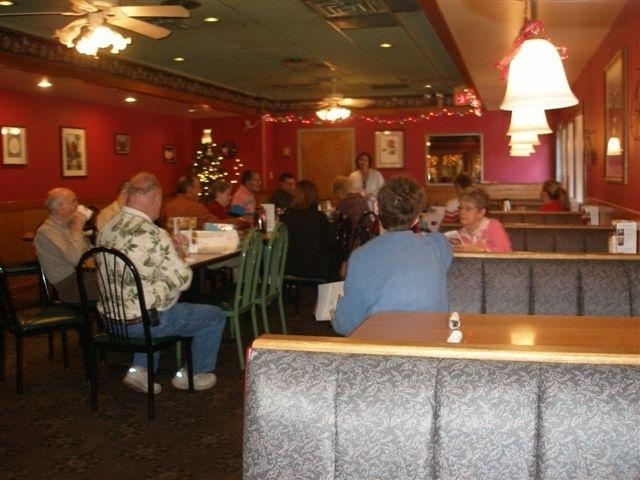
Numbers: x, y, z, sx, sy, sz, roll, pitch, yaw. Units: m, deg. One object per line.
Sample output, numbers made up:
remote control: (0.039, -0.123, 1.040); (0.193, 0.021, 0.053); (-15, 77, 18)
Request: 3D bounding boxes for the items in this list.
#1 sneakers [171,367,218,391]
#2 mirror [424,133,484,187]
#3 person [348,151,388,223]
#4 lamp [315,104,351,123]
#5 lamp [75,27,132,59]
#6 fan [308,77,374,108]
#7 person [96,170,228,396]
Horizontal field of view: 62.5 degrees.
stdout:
sneakers: (-0.885, 0.978, 3.696); (0.300, 0.099, 0.129); (0, 4, -12)
mirror: (2.951, -1.750, 11.668); (1.641, 1.168, 0.112); (-6, 9, -27)
person: (0.804, -0.702, 9.397); (0.764, 1.506, 0.655); (3, 14, 8)
lamp: (0.229, -2.229, 9.265); (0.524, 0.249, 0.427); (0, 8, 8)
lamp: (-1.689, -1.546, 4.056); (0.391, 0.209, 0.282); (-3, 8, -16)
fan: (0.363, -2.775, 9.436); (1.149, 0.339, 0.994); (-1, 4, 1)
person: (-1.046, 0.322, 3.455); (0.745, 1.516, 0.551); (-9, 12, -40)
